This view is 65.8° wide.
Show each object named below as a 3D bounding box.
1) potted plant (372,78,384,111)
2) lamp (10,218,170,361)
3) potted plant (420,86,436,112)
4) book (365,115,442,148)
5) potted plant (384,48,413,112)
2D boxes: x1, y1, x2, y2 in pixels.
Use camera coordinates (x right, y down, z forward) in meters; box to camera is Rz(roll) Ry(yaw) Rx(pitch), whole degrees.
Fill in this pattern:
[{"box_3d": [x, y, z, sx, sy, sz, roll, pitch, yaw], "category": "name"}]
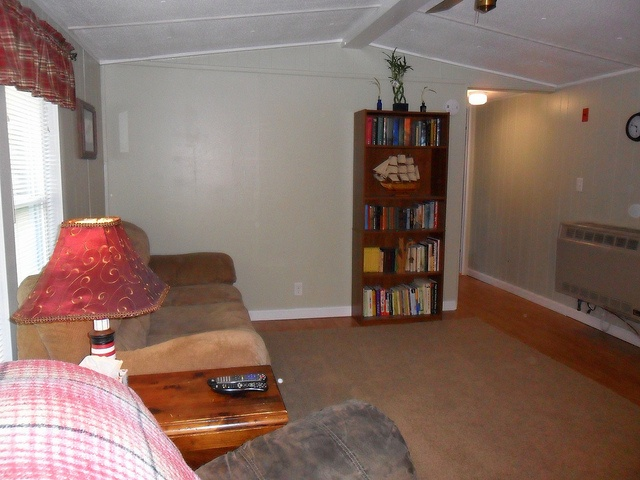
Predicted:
[{"box_3d": [0.562, -1.416, 4.756, 0.103, 0.310, 0.245, 0, 12, 2], "category": "potted plant"}, {"box_3d": [-0.848, 0.134, 2.157, 0.597, 0.792, 0.554, -1, 19, -8], "category": "lamp"}, {"box_3d": [1.044, -1.386, 4.830, 0.136, 0.265, 0.386, 3, 12, 16], "category": "potted plant"}, {"box_3d": [0.784, -1.034, 4.690, 0.783, 0.287, 0.186, -4, 12, -18], "category": "book"}, {"box_3d": [0.774, -1.543, 4.745, 0.282, 0.602, 0.387, 0, 12, 1], "category": "potted plant"}]
